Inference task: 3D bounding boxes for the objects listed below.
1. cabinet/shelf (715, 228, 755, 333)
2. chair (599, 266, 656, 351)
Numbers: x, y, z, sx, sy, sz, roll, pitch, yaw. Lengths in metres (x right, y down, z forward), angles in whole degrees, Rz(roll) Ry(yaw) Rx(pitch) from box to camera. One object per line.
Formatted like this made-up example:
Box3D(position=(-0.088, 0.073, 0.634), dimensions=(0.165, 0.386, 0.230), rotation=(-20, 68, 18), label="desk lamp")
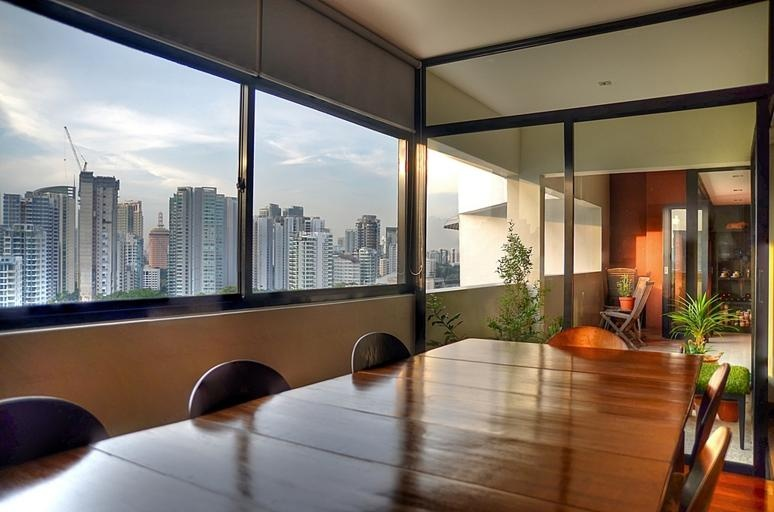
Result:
Box3D(position=(2.863, 0.168, 4.143), dimensions=(0.123, 0.865, 0.322), rotation=(-8, 12, -43), label="cabinet/shelf")
Box3D(position=(2.170, 0.507, 4.518), dimensions=(0.583, 0.854, 0.488), rotation=(-1, -3, 29), label="chair")
